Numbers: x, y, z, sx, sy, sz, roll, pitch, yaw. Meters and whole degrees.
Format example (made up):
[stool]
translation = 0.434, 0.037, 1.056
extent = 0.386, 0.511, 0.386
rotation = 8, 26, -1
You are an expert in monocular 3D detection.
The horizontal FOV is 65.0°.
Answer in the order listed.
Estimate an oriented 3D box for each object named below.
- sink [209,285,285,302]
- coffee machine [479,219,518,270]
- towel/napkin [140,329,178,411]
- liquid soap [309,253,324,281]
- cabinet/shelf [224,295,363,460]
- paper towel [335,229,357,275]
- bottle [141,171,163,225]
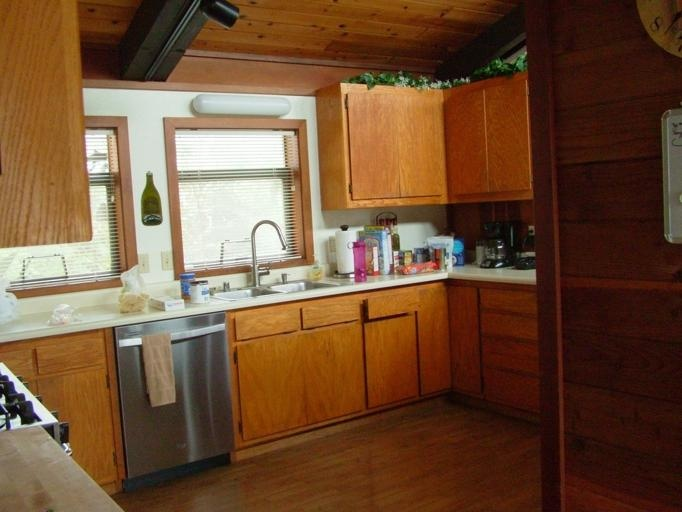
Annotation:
[sink]
translation = -0.678, 0.261, 3.690
extent = 0.236, 0.079, 0.182
rotation = -8, 12, -36
[coffee machine]
translation = 1.199, -0.093, 4.114
extent = 0.297, 0.337, 0.284
rotation = -2, 7, 16
[towel/napkin]
translation = -1.006, 0.622, 2.986
extent = 0.171, 0.387, 0.081
rotation = -7, 7, -23
[liquid soap]
translation = -0.178, 0.083, 4.115
extent = 0.097, 0.171, 0.176
rotation = 0, 8, 36
[cabinet/shelf]
translation = -0.333, 0.768, 3.389
extent = 1.130, 0.854, 0.379
rotation = -3, 1, -35
[paper towel]
translation = 0.056, -0.058, 4.104
extent = 0.178, 0.352, 0.168
rotation = -12, -4, 4
[bottle]
translation = -1.240, -0.374, 3.497
extent = 0.141, 0.361, 0.195
rotation = -7, 7, -18
